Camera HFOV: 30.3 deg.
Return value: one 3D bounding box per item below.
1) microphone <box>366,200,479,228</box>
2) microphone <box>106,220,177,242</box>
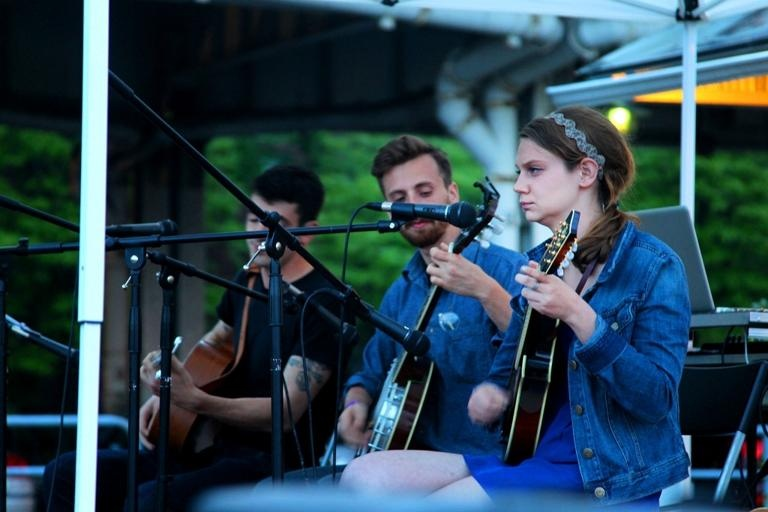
[{"bbox_3d":[0.247,-0.282,9.450,0.713,0.195,0.236,1,-14,27],"label":"microphone"},{"bbox_3d":[-1.700,-0.182,9.542,0.606,0.152,0.163,-4,9,13],"label":"microphone"}]
